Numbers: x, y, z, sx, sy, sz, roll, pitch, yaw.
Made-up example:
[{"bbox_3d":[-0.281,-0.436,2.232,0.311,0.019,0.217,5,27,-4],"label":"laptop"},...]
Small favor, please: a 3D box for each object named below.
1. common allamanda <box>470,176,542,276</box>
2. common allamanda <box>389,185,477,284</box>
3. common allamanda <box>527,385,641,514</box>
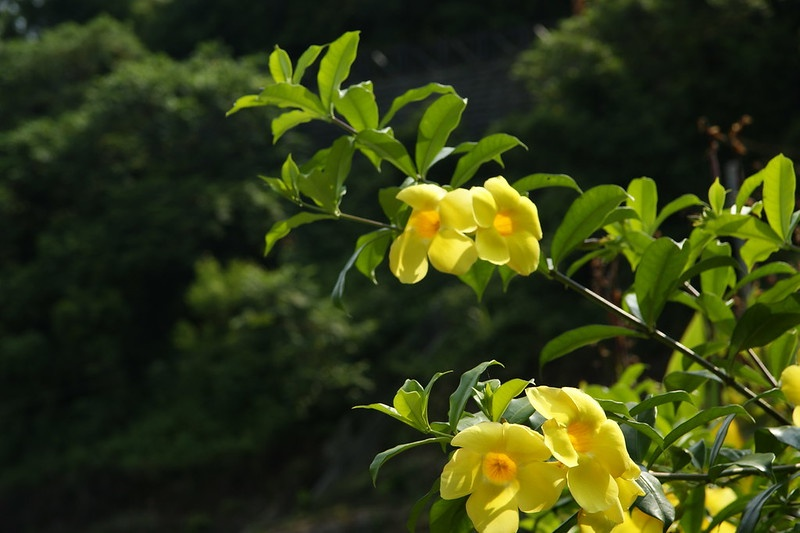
[{"bbox_3d":[0.504,-0.173,4.046,0.409,0.432,0.154,17,-4,-12],"label":"common allamanda"},{"bbox_3d":[0.160,-0.175,4.128,0.424,0.429,0.222,-5,19,3],"label":"common allamanda"},{"bbox_3d":[0.808,0.933,4.181,0.571,0.574,0.180,-31,2,-39],"label":"common allamanda"}]
